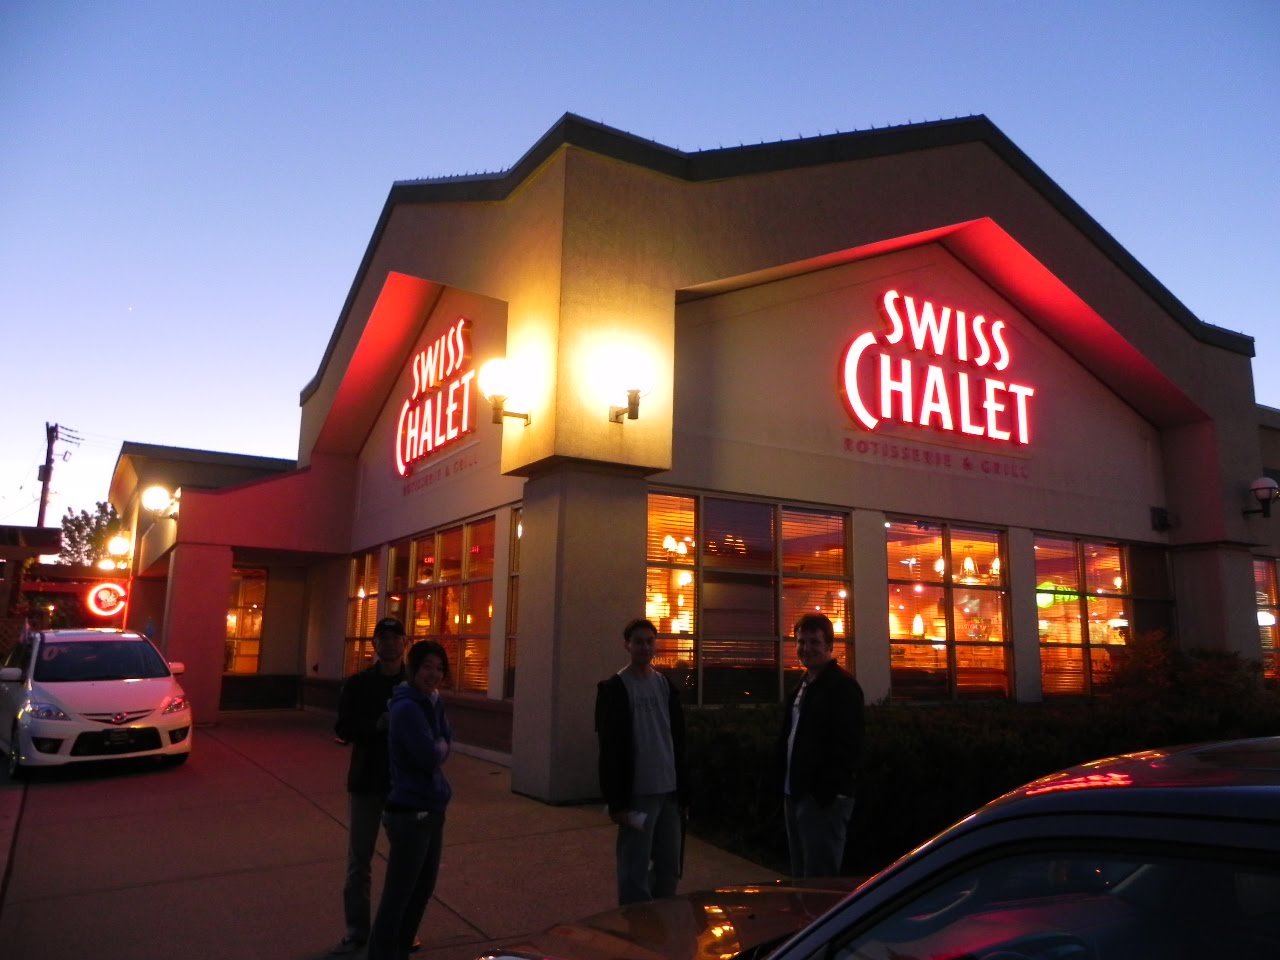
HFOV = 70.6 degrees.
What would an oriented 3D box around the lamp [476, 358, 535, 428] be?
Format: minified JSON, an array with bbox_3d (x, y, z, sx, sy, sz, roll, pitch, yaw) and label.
[{"bbox_3d":[-1.607,-1.019,10.932,0.506,0.874,0.898,-8,-13,26],"label":"lamp"}]

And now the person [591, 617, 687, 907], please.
[{"bbox_3d":[0.008,1.793,5.905,0.578,1.754,0.555,1,-10,2],"label":"person"}]

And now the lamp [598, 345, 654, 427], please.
[{"bbox_3d":[-0.133,-1.121,10.568,0.719,0.996,0.185,10,-13,-37],"label":"lamp"}]
